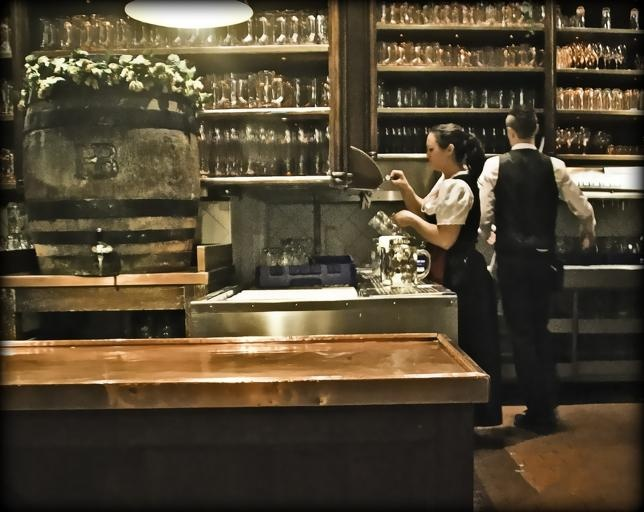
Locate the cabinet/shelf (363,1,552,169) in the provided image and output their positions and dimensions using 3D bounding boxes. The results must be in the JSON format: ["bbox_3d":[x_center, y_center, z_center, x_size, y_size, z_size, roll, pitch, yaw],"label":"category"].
[{"bbox_3d":[0.845,-1.076,5.017,1.165,1.169,0.402,0,0,0],"label":"cabinet/shelf"}]

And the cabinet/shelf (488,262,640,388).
[{"bbox_3d":[1.670,0.446,5.495,1.179,0.834,0.656,-1,-4,3],"label":"cabinet/shelf"}]

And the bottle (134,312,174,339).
[{"bbox_3d":[-0.824,0.330,3.942,0.202,0.202,0.112,-3,0,-9],"label":"bottle"}]

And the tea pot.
[{"bbox_3d":[0.382,0.026,3.960,0.318,0.323,0.206,0,2,7],"label":"tea pot"}]
